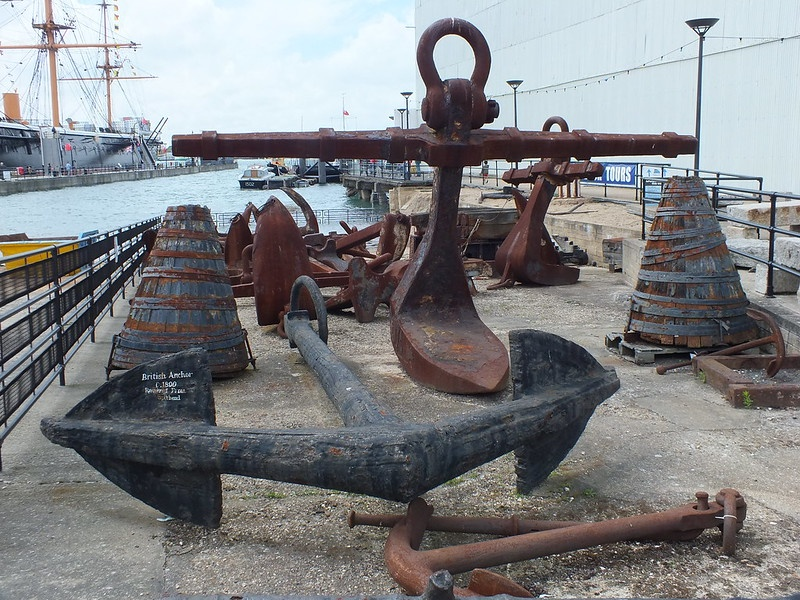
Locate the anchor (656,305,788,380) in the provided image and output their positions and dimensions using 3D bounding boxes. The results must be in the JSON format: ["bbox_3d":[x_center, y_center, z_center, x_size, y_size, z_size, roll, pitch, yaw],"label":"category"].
[{"bbox_3d":[3.378,0.405,6.858,1.046,0.644,1.082,7,15,31],"label":"anchor"}]
